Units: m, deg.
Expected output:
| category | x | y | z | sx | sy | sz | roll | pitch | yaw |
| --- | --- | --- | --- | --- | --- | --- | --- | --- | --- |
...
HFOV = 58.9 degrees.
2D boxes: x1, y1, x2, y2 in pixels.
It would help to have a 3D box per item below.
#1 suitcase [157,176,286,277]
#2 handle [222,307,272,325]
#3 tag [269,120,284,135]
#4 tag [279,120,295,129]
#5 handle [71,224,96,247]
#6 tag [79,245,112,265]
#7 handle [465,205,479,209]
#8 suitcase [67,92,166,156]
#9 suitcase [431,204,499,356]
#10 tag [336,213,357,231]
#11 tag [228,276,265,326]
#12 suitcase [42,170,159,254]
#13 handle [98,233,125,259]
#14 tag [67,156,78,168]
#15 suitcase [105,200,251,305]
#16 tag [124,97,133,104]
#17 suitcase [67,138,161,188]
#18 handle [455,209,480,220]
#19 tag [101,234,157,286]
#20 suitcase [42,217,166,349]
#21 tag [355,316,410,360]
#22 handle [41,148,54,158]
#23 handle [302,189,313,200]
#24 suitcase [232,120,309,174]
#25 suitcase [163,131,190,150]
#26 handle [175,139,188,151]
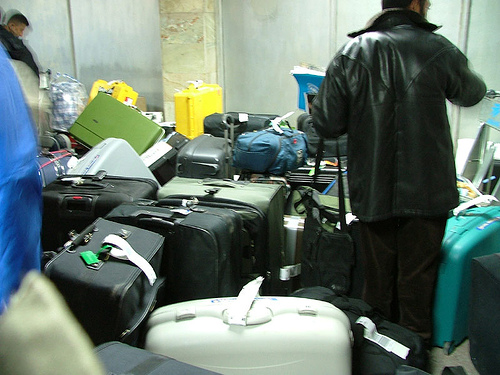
| category | x | y | z | sx | sy | sz | roll | pitch | yaw |
| --- | --- | --- | --- | --- | --- | --- | --- | --- | --- |
| suitcase | -0.120 | 0.188 | 1.966 | 0.441 | 0.433 | 0.165 | 3 | 19 | 12 |
| handle | 0.008 | 0.427 | 1.470 | 0.075 | 0.015 | 0.073 | -2 | -3 | -19 |
| tag | 0.165 | -0.364 | 2.719 | 0.039 | 0.039 | 0.116 | -29 | 44 | -1 |
| tag | 0.233 | -0.417 | 2.956 | 0.040 | 0.031 | 0.118 | -18 | -15 | 17 |
| handle | -0.665 | 0.193 | 1.777 | 0.027 | 0.022 | 0.112 | -40 | 3 | 32 |
| tag | -0.561 | 0.243 | 1.581 | 0.065 | 0.023 | 0.081 | 33 | 29 | 33 |
| handle | 1.171 | 0.105 | 2.343 | 0.063 | 0.021 | 0.036 | 6 | -7 | -43 |
| suitcase | -1.123 | -0.533 | 3.760 | 0.754 | 0.539 | 0.196 | 33 | 0 | 7 |
| suitcase | 0.892 | 0.407 | 1.862 | 0.184 | 0.493 | 0.534 | 15 | 36 | 39 |
| tag | 0.497 | 0.166 | 2.292 | 0.080 | 0.105 | 0.031 | -2 | 12 | -44 |
| tag | -0.012 | 0.387 | 1.512 | 0.097 | 0.099 | 0.093 | 5 | 24 | -12 |
| suitcase | -0.731 | 0.250 | 2.510 | 0.372 | 0.677 | 0.703 | 1 | 11 | 16 |
| handle | -0.515 | 0.217 | 1.628 | 0.073 | 0.078 | 0.047 | 4 | -2 | -39 |
| tag | -1.228 | -0.178 | 3.065 | 0.045 | 0.019 | 0.080 | 17 | 34 | 8 |
| suitcase | -0.235 | 0.252 | 2.012 | 0.547 | 0.399 | 0.535 | 9 | 25 | 20 |
| tag | -1.338 | -0.959 | 4.888 | 0.085 | 0.063 | 0.116 | 3 | -2 | 6 |
| suitcase | -0.856 | -0.154 | 2.880 | 0.373 | 0.212 | 0.362 | 25 | 30 | 34 |
| handle | 1.080 | 0.140 | 2.216 | 0.082 | 0.045 | 0.128 | -3 | -2 | 31 |
| tag | -0.429 | 0.266 | 1.566 | 0.206 | 0.077 | 0.062 | 32 | 45 | -3 |
| suitcase | -0.510 | 0.288 | 1.681 | 0.412 | 0.494 | 0.389 | 15 | 34 | 15 |
| tag | 0.509 | 0.579 | 1.734 | 0.215 | 0.079 | 0.066 | 18 | 36 | 33 |
| handle | -1.353 | -0.229 | 2.962 | 0.074 | 0.023 | 0.075 | 29 | 20 | 11 |
| handle | 0.314 | 0.040 | 2.425 | 0.060 | 0.059 | 0.044 | 3 | 9 | 16 |
| suitcase | 0.156 | -0.207 | 2.630 | 0.468 | 0.234 | 0.234 | -10 | 18 | -28 |
| suitcase | -0.609 | -0.402 | 3.771 | 0.165 | 0.051 | 0.159 | -15 | 47 | -44 |
| handle | -0.559 | -0.342 | 3.580 | 0.021 | 0.034 | 0.227 | -29 | 8 | 20 |
